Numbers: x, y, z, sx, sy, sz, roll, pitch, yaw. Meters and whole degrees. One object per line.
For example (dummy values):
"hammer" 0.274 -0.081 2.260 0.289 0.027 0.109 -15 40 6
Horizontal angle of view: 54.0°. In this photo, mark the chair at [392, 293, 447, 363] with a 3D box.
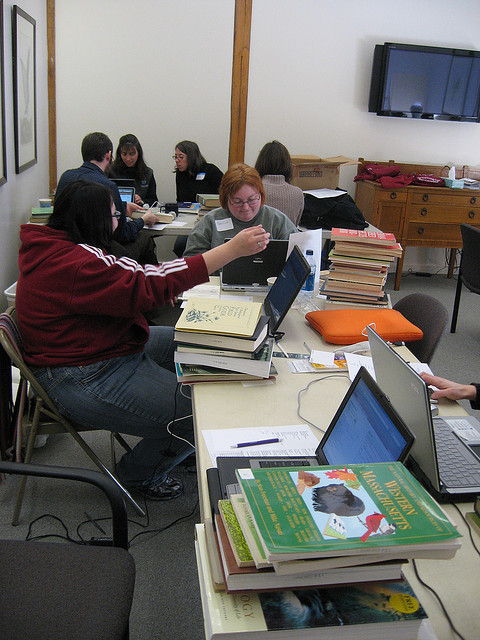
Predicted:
"chair" 0.682 0.051 1.972 0.228 0.299 0.262 -2 -2 35

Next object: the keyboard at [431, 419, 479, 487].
"keyboard" 0.480 0.302 1.055 0.053 0.008 0.168 0 20 -3

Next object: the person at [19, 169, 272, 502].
"person" -0.374 0.086 1.829 0.788 1.222 0.597 0 18 -3

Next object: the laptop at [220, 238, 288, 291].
"laptop" 0.103 -0.265 2.142 0.343 0.260 0.257 -2 -2 -9

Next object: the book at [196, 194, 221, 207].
"book" -0.272 -1.032 4.084 0.138 0.109 0.311 3 14 -15

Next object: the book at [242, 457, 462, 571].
"book" 0.140 0.240 0.588 0.195 0.028 0.149 0 19 -12

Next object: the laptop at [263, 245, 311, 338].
"laptop" 0.196 -0.113 1.919 0.218 0.215 0.308 17 20 -11

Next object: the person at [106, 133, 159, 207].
"person" -1.111 -1.411 4.659 0.633 0.730 0.497 -6 27 -17

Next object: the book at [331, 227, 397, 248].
"book" 0.569 -0.389 2.199 0.280 0.056 0.431 9 14 10

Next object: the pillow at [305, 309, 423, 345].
"pillow" 0.473 0.021 1.861 0.367 0.119 0.295 3 14 -18
